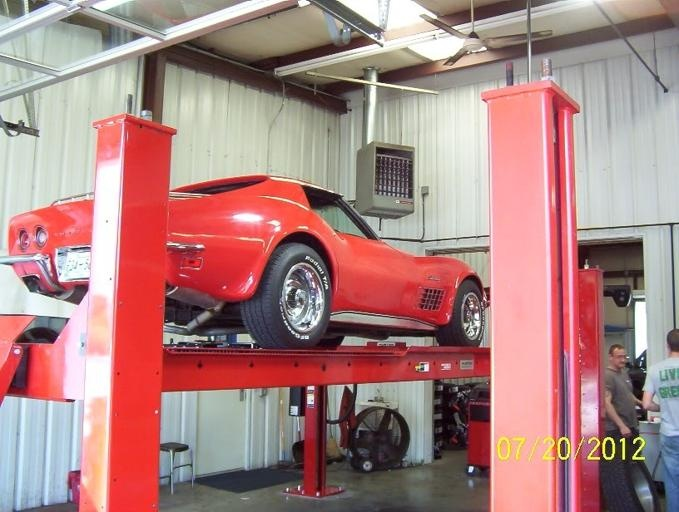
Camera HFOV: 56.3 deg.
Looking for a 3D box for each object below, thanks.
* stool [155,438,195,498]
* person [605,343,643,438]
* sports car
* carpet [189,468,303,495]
[{"bbox_3d":[-2.085,2.761,8.410,0.459,0.415,0.471,-14,-14,38],"label":"stool"},{"bbox_3d":[2.878,1.357,6.444,0.324,0.894,0.783,-1,-7,24],"label":"person"},{"bbox_3d":[-0.335,0.069,4.992,1.719,0.984,3.527,-3,-7,41],"label":"sports car"},{"bbox_3d":[-1.234,3.086,8.797,1.037,0.041,1.446,-3,-7,36],"label":"carpet"}]
